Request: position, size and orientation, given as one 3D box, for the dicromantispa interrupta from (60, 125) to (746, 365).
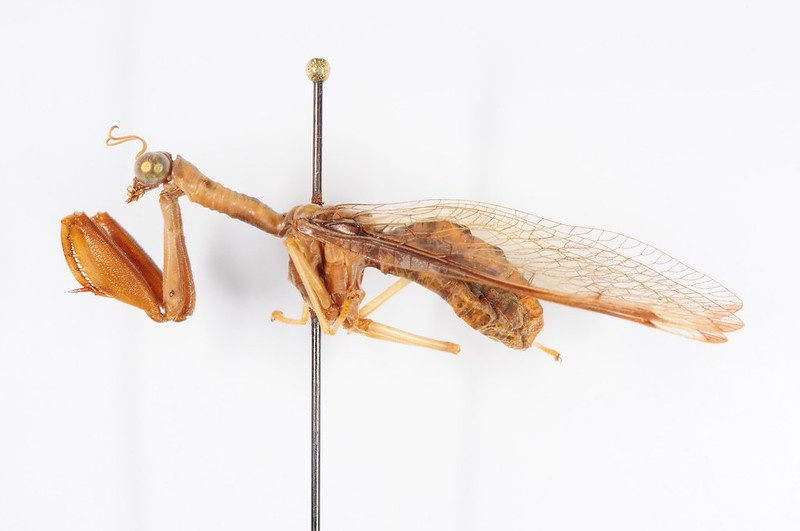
[{"bbox_3d":[-0.022,0.012,2.203,1.592,0.476,0.476,6,-64,0],"label":"dicromantispa interrupta"}]
